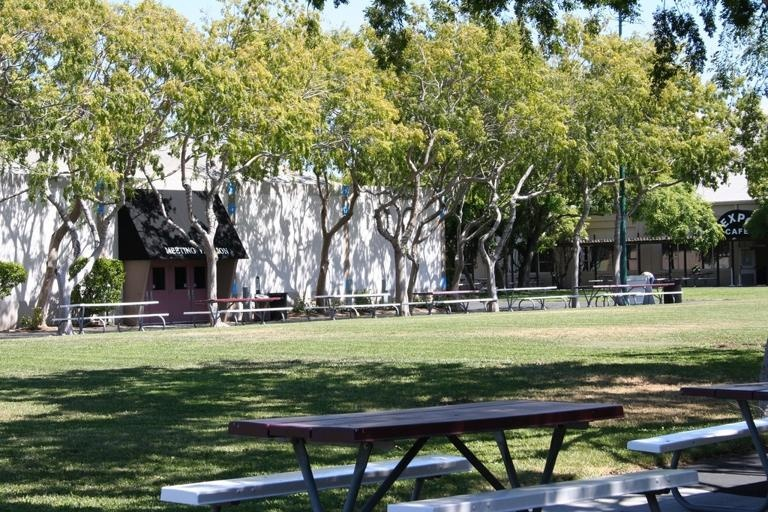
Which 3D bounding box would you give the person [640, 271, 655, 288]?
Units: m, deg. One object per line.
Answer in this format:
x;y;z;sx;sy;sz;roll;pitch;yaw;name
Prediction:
13.523;1.211;48.613;0.458;0.914;0.852;-18;18;-19;person

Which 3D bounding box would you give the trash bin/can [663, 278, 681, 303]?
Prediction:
14.265;1.760;46.831;1.068;1.323;1.129;0;-5;-5;trash bin/can

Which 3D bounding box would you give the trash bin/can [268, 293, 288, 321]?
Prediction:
-4.436;2.101;39.652;0.987;1.372;1.012;2;-4;-25;trash bin/can

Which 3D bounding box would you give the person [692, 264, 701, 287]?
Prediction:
23.460;1.439;70.927;0.597;1.626;2.223;-5;-7;18;person
